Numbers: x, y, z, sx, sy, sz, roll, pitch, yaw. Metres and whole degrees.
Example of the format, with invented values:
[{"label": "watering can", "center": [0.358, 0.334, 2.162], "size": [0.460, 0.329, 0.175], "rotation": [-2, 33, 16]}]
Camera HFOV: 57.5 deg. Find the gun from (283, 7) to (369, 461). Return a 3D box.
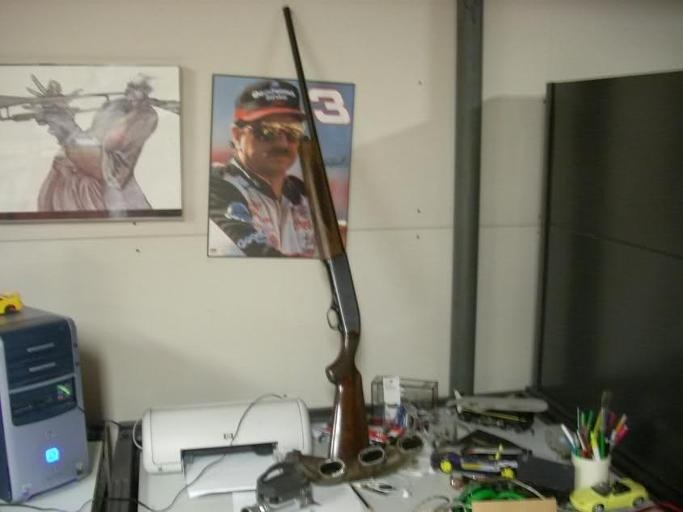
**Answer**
[{"label": "gun", "center": [-0.058, -0.131, 2.125], "size": [0.225, 1.494, 0.075], "rotation": [-7, -3, -40]}]
